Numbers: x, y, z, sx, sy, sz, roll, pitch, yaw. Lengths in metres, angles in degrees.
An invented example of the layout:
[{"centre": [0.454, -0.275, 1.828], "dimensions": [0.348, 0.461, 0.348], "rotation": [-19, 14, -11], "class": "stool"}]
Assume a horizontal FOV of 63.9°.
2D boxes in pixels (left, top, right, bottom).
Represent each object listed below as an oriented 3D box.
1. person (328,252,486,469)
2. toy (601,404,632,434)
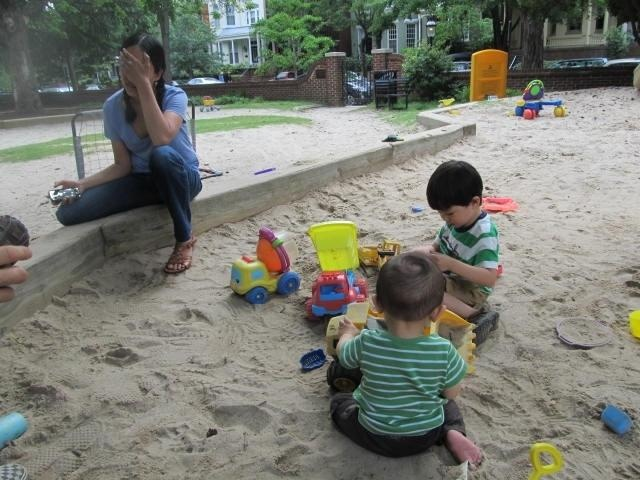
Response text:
[{"centre": [0.508, 0.701, 2.828], "dimensions": [1.013, 1.038, 0.711], "rotation": [6, 20, 4], "class": "person"}, {"centre": [1.638, 0.998, 2.832], "dimensions": [0.080, 0.086, 0.143], "rotation": [42, 1, -2], "class": "toy"}]
